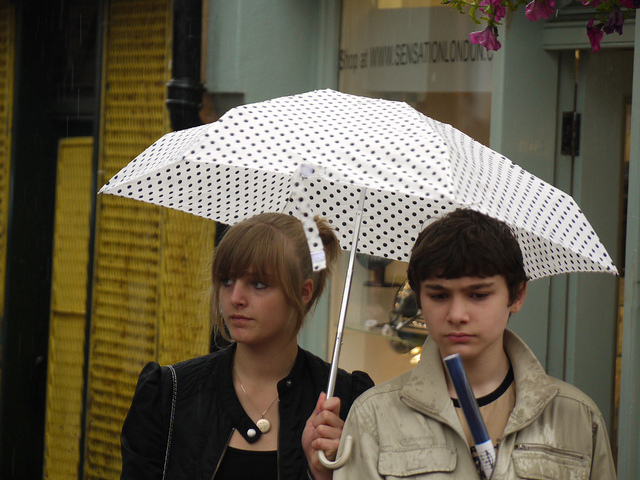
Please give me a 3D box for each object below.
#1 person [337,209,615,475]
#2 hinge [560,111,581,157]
[{"bbox_3d":[0.781,0.534,5.215,1.304,1.372,0.462,4,-2,-12],"label":"person"},{"bbox_3d":[1.689,-0.713,7.067,0.132,0.343,0.023,-1,3,-8],"label":"hinge"}]
